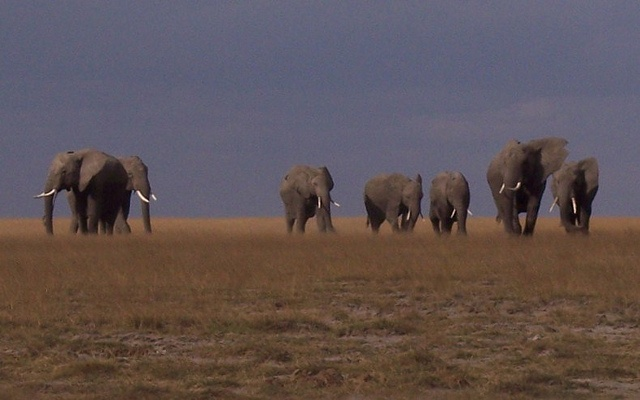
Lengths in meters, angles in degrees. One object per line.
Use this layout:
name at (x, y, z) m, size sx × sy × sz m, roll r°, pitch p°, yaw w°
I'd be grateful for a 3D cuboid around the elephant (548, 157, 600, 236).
elephant at (11.533, -0.248, 58.449) m, size 2.375 × 3.386 × 5.732 m, roll 2°, pitch 5°, yaw 23°

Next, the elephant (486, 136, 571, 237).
elephant at (8.873, -0.662, 54.522) m, size 3.738 × 4.170 × 2.591 m, roll -1°, pitch -2°, yaw -27°

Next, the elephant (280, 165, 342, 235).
elephant at (-0.611, -0.055, 62.436) m, size 1.886 × 3.338 × 4.524 m, roll 1°, pitch -2°, yaw -13°

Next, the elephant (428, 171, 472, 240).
elephant at (6.343, 0.371, 62.210) m, size 2.079 × 3.037 × 4.205 m, roll 2°, pitch -2°, yaw -9°

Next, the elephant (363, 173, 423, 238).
elephant at (3.749, 0.164, 65.691) m, size 1.755 × 2.994 × 5.025 m, roll -5°, pitch 6°, yaw -27°
